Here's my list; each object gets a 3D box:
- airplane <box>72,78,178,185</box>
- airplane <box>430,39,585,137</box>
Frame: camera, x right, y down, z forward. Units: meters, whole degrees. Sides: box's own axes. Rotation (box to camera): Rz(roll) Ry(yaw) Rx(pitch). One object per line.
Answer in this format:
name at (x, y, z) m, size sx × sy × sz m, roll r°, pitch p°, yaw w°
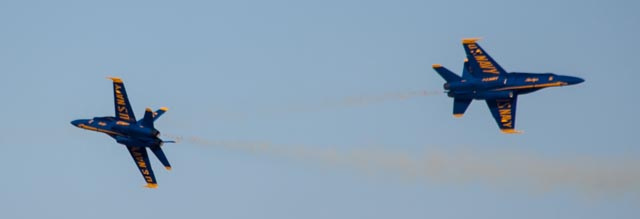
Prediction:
airplane at (-17.021, 1.771, 81.855) m, size 9.364 × 1.689 × 7.436 m, roll 16°, pitch -42°, yaw 16°
airplane at (13.794, -2.552, 76.793) m, size 18.763 × 7.415 × 4.003 m, roll -2°, pitch -9°, yaw 4°
